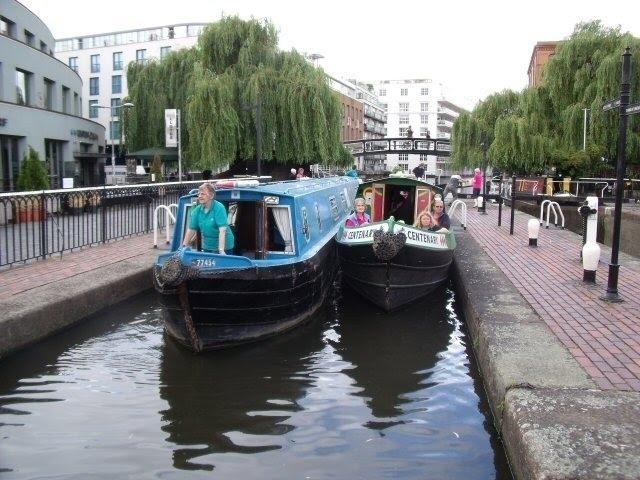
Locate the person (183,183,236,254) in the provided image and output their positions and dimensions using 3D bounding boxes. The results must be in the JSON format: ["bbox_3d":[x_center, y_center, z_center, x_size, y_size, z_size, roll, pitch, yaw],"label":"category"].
[{"bbox_3d":[-1.827,-0.338,9.267,1.227,1.257,0.634,9,13,42],"label":"person"}]
